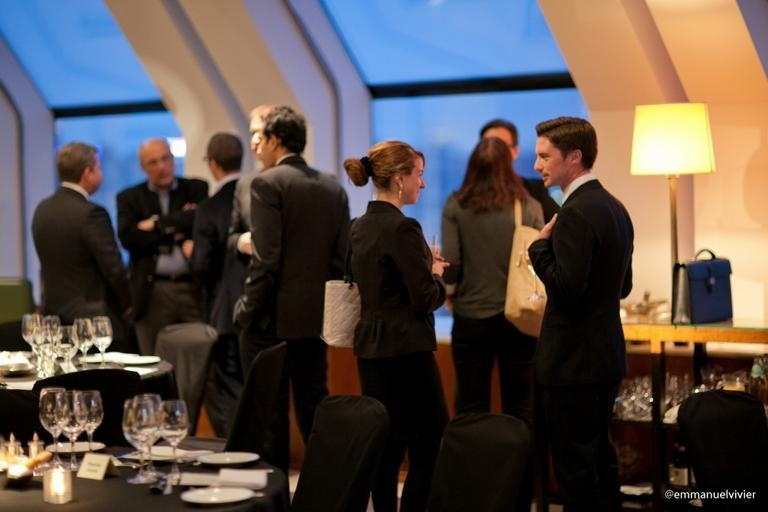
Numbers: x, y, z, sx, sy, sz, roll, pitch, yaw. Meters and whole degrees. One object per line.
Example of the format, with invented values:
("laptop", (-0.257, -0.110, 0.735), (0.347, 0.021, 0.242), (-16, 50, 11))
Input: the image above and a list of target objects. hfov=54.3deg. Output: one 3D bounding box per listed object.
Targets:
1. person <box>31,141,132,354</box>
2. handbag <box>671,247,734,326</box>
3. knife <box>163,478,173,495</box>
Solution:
("person", (-2.071, -0.108, 5.208), (0.688, 1.388, 0.564), (2, -5, -26))
("handbag", (1.853, 0.188, 4.363), (0.392, 0.533, 0.188), (-2, 4, -17))
("knife", (-0.877, 0.937, 3.044), (0.029, 0.033, 0.031), (2, 2, 17))
